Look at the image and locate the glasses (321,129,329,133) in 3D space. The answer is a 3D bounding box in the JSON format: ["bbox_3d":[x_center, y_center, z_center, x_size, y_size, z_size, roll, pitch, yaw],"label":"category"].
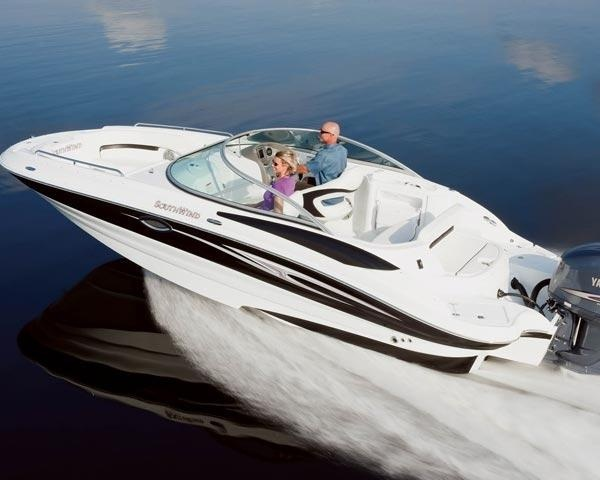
[{"bbox_3d":[0.264,-1.165,6.382,0.080,0.013,0.054,8,17,-4],"label":"glasses"}]

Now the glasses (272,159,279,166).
[{"bbox_3d":[-0.231,-0.763,5.876,0.057,0.049,0.030,3,-2,40],"label":"glasses"}]
